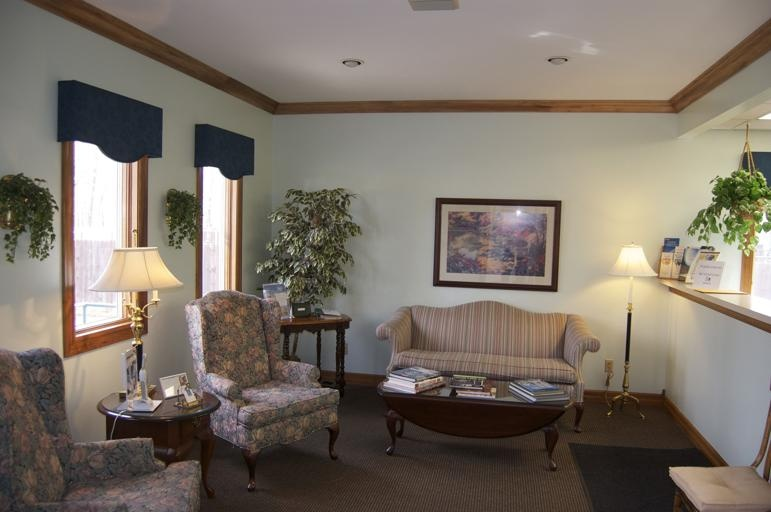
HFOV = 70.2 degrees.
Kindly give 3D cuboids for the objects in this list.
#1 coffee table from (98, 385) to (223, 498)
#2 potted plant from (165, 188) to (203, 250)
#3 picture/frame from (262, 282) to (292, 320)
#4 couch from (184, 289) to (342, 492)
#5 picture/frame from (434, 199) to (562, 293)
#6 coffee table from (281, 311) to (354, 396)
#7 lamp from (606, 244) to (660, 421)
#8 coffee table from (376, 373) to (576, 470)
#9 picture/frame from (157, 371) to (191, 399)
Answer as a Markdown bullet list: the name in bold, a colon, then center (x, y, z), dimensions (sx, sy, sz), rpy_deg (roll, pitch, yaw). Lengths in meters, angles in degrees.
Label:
- **coffee table**: center (-1.852, 1.445, 4.749), dimensions (0.964, 0.711, 0.955), rpy_deg (0, 0, 1)
- **potted plant**: center (-2.041, -0.357, 5.524), dimensions (0.187, 0.510, 0.420), rpy_deg (-1, -6, 29)
- **picture/frame**: center (-1.207, 0.519, 6.141), dimensions (0.043, 0.301, 0.414), rpy_deg (-20, 0, 23)
- **couch**: center (-1.163, 1.187, 5.290), dimensions (1.188, 1.509, 1.252), rpy_deg (0, 3, -42)
- **picture/frame**: center (1.473, -0.151, 6.887), dimensions (1.201, 0.880, 0.046), rpy_deg (1, -1, 8)
- **coffee table**: center (-1.066, 1.171, 6.512), dimensions (0.747, 0.866, 0.824), rpy_deg (-11, -11, 24)
- **lamp**: center (2.862, 0.848, 6.475), dimensions (0.498, 1.911, 0.895), rpy_deg (5, 13, 22)
- **coffee table**: center (0.822, 1.491, 5.214), dimensions (1.705, 0.373, 0.277), rpy_deg (3, 12, 9)
- **picture/frame**: center (-1.859, 1.136, 4.804), dimensions (0.043, 0.261, 0.326), rpy_deg (-23, -15, 38)
